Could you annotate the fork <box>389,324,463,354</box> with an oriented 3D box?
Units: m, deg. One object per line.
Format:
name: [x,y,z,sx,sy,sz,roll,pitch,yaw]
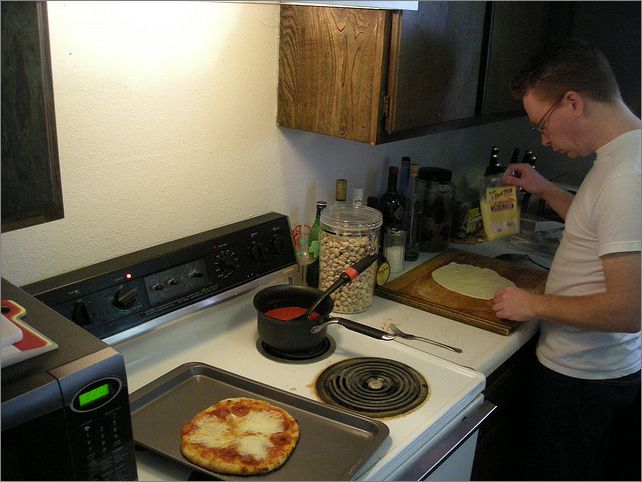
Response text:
fork: [0.321,0.307,1.427,0.202,0.028,0.028,13,31,17]

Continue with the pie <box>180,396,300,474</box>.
pie: [-0.178,0.430,1.019,0.247,0.040,0.225,6,22,24]

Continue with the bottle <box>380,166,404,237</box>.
bottle: [0.292,-0.181,1.900,0.091,0.269,0.255,0,21,10]

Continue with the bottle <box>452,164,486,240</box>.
bottle: [0.691,-0.193,2.271,0.123,0.332,0.183,17,28,34]

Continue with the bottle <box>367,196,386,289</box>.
bottle: [0.197,0.026,1.709,0.076,0.297,0.100,13,29,13]

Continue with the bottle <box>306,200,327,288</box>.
bottle: [-0.033,0.009,1.629,0.080,0.275,0.100,6,27,-1]

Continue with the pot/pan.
pot/pan: [-0.003,0.236,1.390,0.289,0.098,0.296,13,19,33]
